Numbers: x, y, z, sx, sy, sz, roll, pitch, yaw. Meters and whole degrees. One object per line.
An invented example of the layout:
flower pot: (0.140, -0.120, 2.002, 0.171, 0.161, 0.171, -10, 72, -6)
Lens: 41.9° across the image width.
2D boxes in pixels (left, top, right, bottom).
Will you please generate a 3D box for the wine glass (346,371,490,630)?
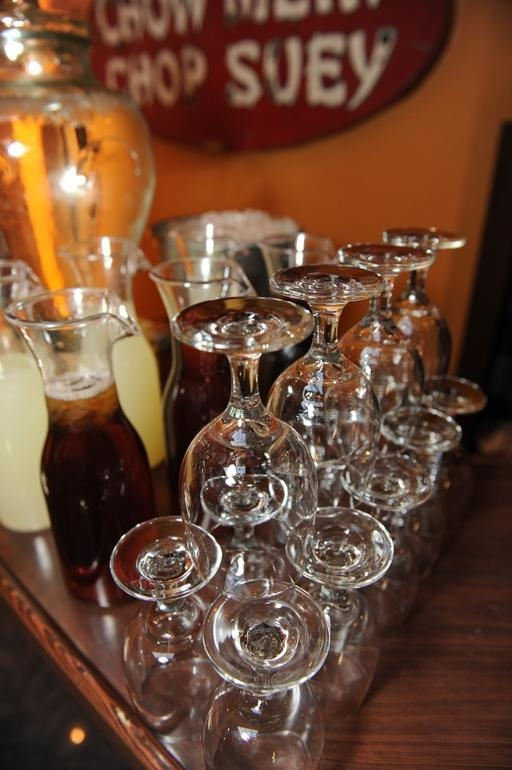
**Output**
wine glass: (0.139, 0.079, 0.569, 0.086, 0.036, 0.263, 16, 32, 15)

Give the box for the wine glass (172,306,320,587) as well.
wine glass: (-0.006, 0.053, 0.420, 0.086, 0.216, 0.074, -31, 44, -35)
